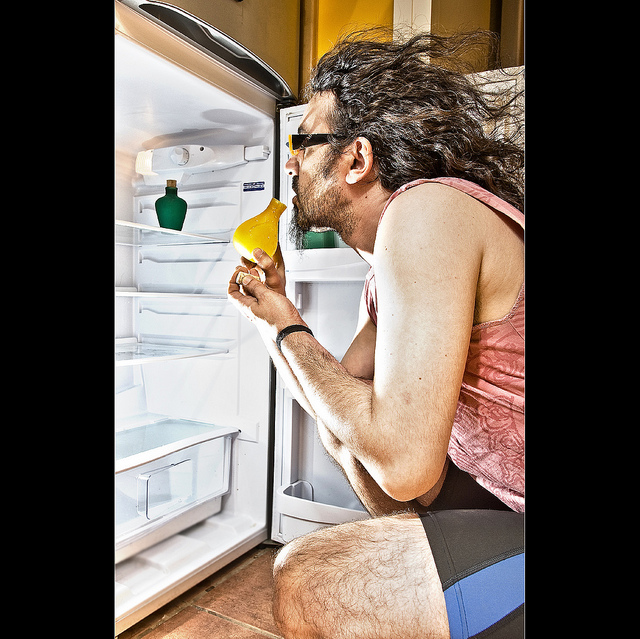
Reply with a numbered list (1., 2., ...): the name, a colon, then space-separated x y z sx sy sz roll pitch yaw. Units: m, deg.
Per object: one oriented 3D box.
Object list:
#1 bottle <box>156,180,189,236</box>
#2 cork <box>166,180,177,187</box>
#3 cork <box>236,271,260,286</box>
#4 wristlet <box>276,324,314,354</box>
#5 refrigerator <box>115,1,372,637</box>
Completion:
1. bottle: -0.423 -0.329 1.682 0.085 0.145 0.084 2 5 0
2. cork: -0.411 -0.383 1.647 0.017 0.020 0.020 1 1 -2
3. cork: -0.156 -0.097 1.292 0.044 0.017 0.033 11 7 2
4. wristlet: -0.047 0.036 1.127 0.068 0.056 0.053 -2 10 -4
5. refrigerator: -0.266 -0.072 1.583 0.630 1.424 0.705 -5 11 -21
